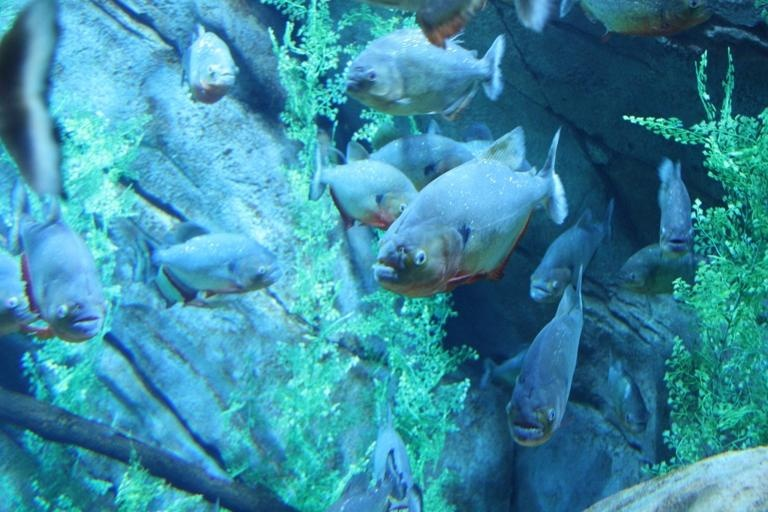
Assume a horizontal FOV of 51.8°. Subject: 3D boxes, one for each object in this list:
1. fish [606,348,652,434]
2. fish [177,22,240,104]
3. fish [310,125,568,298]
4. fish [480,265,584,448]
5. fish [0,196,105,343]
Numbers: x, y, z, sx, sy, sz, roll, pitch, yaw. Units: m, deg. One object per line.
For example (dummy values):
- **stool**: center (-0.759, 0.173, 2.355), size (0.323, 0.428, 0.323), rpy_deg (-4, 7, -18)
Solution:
- **fish**: center (1.497, 0.843, 4.900), size (0.192, 0.514, 0.151), rpy_deg (-31, -21, 9)
- **fish**: center (-1.013, -1.131, 4.548), size (0.337, 0.284, 0.231), rpy_deg (-35, 21, -35)
- **fish**: center (0.406, -0.340, 3.906), size (1.457, 0.812, 0.426), rpy_deg (-35, 37, -27)
- **fish**: center (0.845, 0.620, 4.077), size (0.328, 0.465, 1.224), rpy_deg (16, 56, 16)
- **fish**: center (-1.553, 0.067, 3.655), size (0.359, 0.547, 0.300), rpy_deg (-11, 19, 30)
